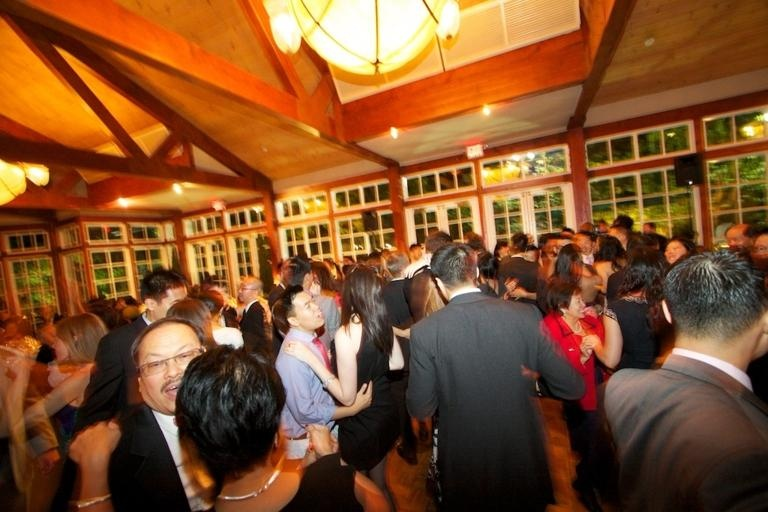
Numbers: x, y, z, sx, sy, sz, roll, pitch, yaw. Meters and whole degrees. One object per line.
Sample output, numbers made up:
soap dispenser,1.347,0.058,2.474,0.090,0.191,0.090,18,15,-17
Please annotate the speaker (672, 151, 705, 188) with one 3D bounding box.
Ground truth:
speaker,5.207,-1.472,7.740,0.430,0.611,0.239,-6,-1,26

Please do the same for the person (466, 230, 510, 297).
person,1.370,0.098,5.888,0.392,0.390,1.129,-2,-24,38
